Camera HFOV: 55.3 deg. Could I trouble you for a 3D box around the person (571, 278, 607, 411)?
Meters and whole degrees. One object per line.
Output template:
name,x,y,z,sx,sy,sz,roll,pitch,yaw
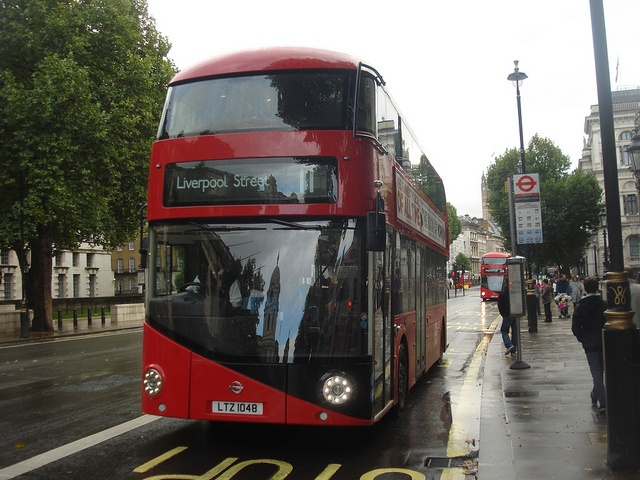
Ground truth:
person,4.312,1.640,9.762,0.498,2.073,0.611,-2,-2,25

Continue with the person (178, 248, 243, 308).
person,-1.379,0.393,8.362,0.862,0.971,0.735,0,5,19

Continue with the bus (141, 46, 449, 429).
bus,0.018,-0.023,8.851,4.652,5.457,2.452,0,-2,-38

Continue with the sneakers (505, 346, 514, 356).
sneakers,4.913,2.864,15.838,0.222,0.243,0.351,-3,-2,39

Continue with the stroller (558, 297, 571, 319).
stroller,11.445,3.130,28.257,0.465,0.848,1.414,0,1,13
